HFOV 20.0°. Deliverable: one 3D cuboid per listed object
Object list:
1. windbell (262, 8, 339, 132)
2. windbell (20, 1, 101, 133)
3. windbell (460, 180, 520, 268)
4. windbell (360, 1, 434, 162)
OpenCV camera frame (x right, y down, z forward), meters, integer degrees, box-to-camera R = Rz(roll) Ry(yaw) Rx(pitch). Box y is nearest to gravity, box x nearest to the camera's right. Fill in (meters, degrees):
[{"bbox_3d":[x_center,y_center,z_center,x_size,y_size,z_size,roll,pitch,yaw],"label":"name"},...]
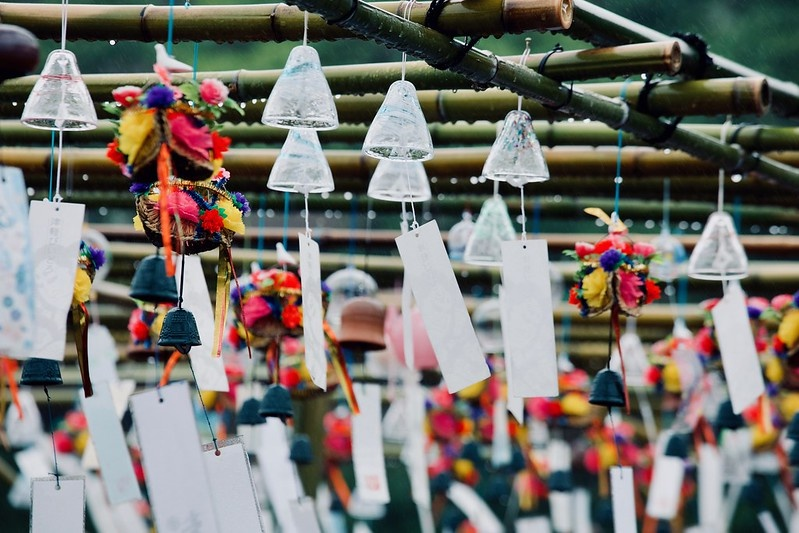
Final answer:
[{"bbox_3d":[-0.749,-1.412,16.383,0.539,0.798,0.349,-4,-1,-3],"label":"windbell"},{"bbox_3d":[-2.512,-1.463,16.526,0.539,0.884,0.368,-4,-1,-8],"label":"windbell"},{"bbox_3d":[0.697,-0.331,17.872,0.408,0.624,0.729,-4,-1,2],"label":"windbell"},{"bbox_3d":[-0.065,-1.327,16.578,0.520,1.078,0.435,-4,-1,-14],"label":"windbell"}]
